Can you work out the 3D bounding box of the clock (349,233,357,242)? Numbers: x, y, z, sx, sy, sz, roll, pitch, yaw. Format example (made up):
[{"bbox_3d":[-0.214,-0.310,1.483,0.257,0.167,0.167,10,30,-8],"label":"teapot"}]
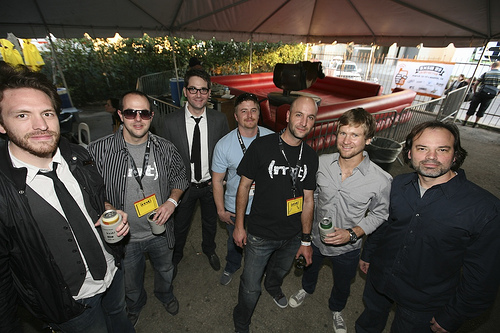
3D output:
[{"bbox_3d":[1.309,0.908,3.293,0.075,0.101,0.037,3,1,5],"label":"clock"}]

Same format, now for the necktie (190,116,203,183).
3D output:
[{"bbox_3d":[-0.820,-0.278,4.053,0.077,1.049,0.267,-1,-1,-1],"label":"necktie"}]

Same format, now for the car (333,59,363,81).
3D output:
[{"bbox_3d":[6.672,-6.479,17.796,2.366,1.404,1.393,-4,29,-9],"label":"car"}]

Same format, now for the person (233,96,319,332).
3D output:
[{"bbox_3d":[0.354,0.751,3.502,1.234,3.185,0.787,-5,22,-11],"label":"person"}]
